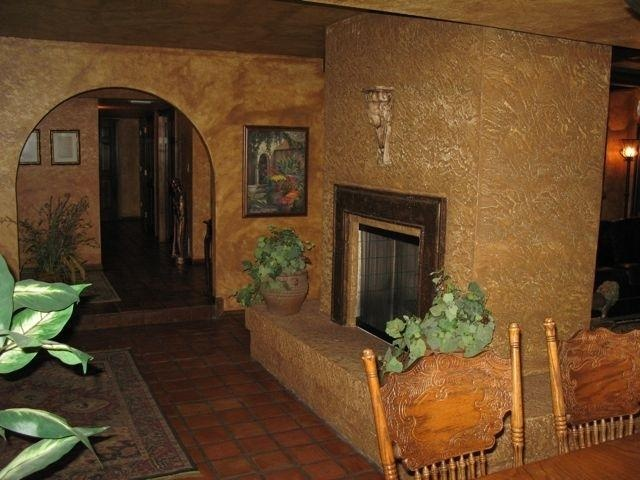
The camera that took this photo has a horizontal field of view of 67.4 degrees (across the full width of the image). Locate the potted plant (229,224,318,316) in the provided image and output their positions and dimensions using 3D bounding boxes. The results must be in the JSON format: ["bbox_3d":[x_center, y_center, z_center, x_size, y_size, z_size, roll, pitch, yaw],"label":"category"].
[{"bbox_3d":[-0.425,0.315,5.034,0.993,0.928,0.864,0,-2,30],"label":"potted plant"}]

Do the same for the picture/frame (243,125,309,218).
[{"bbox_3d":[-0.590,-0.908,6.383,0.833,1.170,0.239,0,12,-9],"label":"picture/frame"}]
